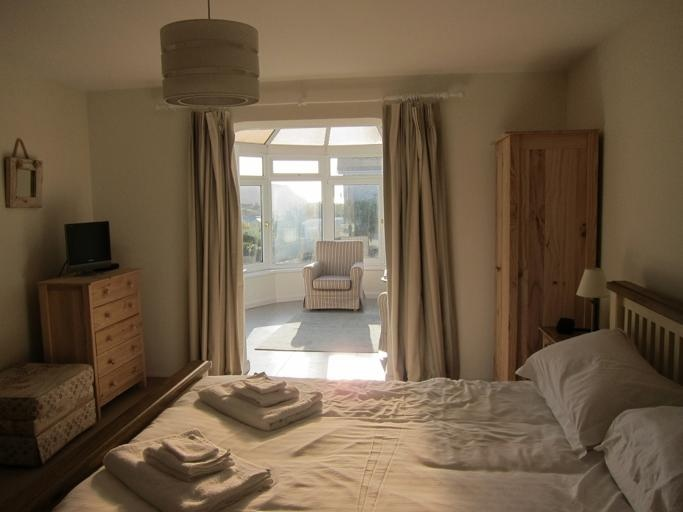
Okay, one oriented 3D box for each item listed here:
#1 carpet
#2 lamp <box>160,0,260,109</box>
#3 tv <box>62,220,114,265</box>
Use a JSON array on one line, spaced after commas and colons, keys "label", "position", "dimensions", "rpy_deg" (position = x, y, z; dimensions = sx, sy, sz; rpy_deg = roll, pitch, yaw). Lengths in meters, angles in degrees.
[{"label": "carpet", "position": [-0.210, 0.931, 6.786], "dimensions": [1.364, 0.010, 1.566], "rpy_deg": [-1, 11, 3]}, {"label": "lamp", "position": [-0.664, -0.957, 2.771], "dimensions": [0.465, 0.533, 0.472], "rpy_deg": [-1, 4, -11]}, {"label": "tv", "position": [-2.238, -0.099, 4.704], "dimensions": [0.049, 0.424, 0.482], "rpy_deg": [3, 8, 20]}]
